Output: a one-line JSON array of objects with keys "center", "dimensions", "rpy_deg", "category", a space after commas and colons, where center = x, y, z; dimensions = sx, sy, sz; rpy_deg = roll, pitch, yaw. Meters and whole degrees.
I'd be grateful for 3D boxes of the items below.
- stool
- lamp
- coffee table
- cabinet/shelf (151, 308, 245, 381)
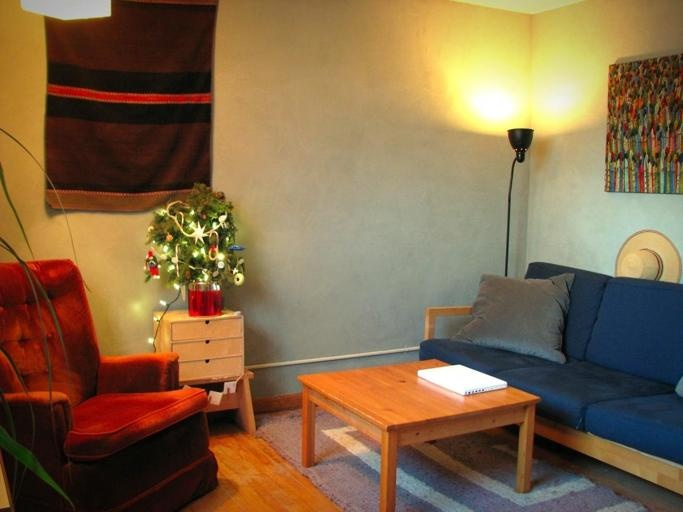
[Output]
[{"center": [-0.779, 0.965, 3.695], "dimensions": [0.398, 0.337, 0.392], "rpy_deg": [1, -5, -25], "category": "stool"}, {"center": [1.446, -0.435, 4.648], "dimensions": [0.179, 1.222, 0.438], "rpy_deg": [4, 12, 18], "category": "lamp"}, {"center": [0.428, 0.777, 2.920], "dimensions": [0.801, 0.434, 0.796], "rpy_deg": [2, 2, -25], "category": "coffee table"}, {"center": [-0.851, 0.557, 3.444], "dimensions": [0.453, 0.352, 0.438], "rpy_deg": [0, 0, -26], "category": "cabinet/shelf"}]
